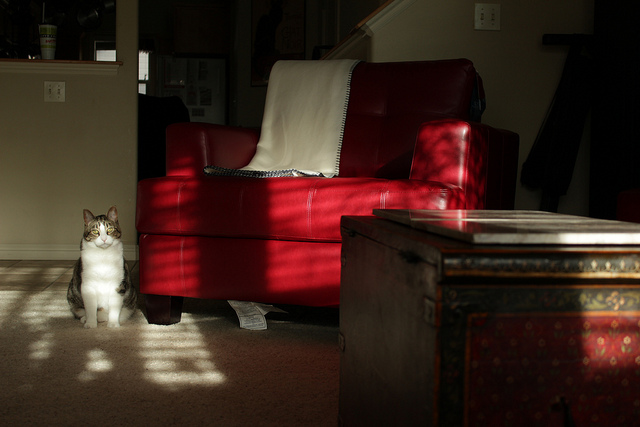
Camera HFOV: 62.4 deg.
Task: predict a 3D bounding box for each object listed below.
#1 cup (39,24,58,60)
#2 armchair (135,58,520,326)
[{"bbox_3d":[-1.728,-1.084,3.363,0.095,0.237,0.217,-3,8,-27],"label":"cup"},{"bbox_3d":[0.101,-0.042,2.195,1.469,1.261,1.106,0,-3,23],"label":"armchair"}]
